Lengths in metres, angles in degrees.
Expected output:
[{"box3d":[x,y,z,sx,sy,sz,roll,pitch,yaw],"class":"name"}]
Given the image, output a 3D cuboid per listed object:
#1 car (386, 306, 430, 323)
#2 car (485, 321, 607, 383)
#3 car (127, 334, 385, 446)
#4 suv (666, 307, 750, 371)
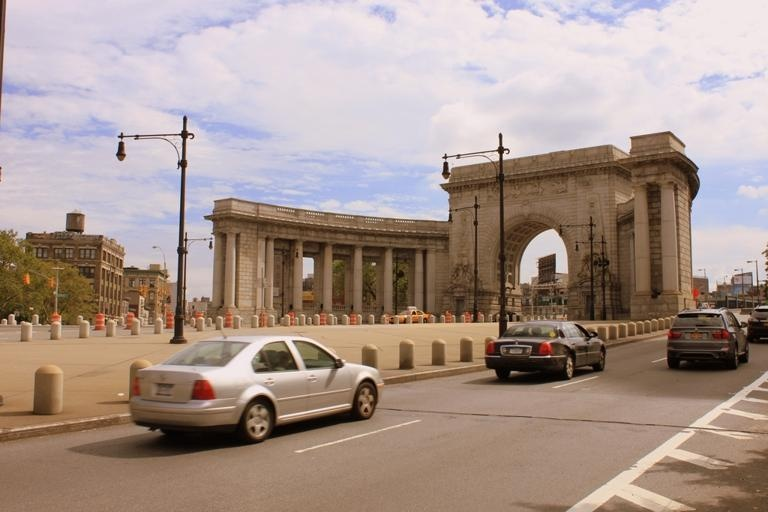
[{"box3d":[2.403,5.045,66.784,1.634,1.124,3.029,-9,-14,38],"class":"car"},{"box3d":[5.374,2.945,24.642,3.923,1.807,1.611,3,-6,-33],"class":"car"},{"box3d":[-2.459,2.628,16.981,2.103,1.480,4.824,-3,-3,44],"class":"car"},{"box3d":[11.566,2.740,27.166,1.545,1.244,3.410,-3,-3,31],"class":"suv"}]
